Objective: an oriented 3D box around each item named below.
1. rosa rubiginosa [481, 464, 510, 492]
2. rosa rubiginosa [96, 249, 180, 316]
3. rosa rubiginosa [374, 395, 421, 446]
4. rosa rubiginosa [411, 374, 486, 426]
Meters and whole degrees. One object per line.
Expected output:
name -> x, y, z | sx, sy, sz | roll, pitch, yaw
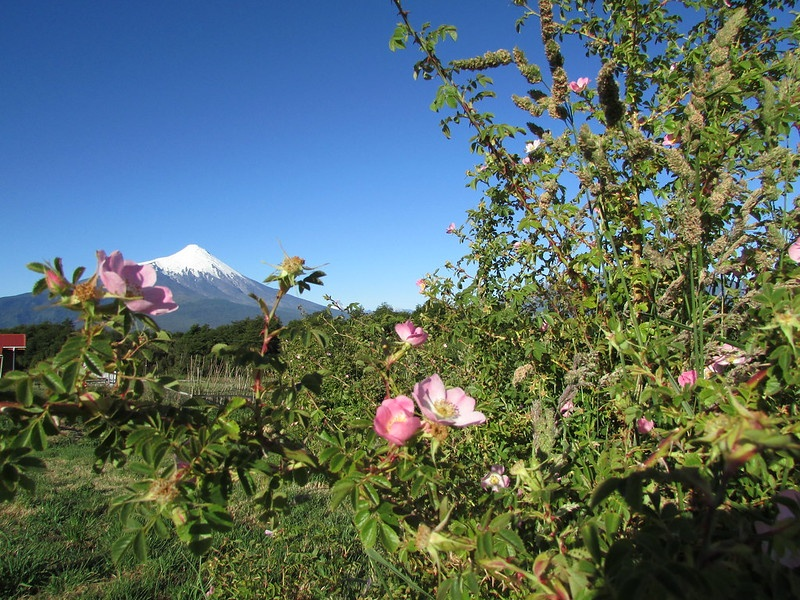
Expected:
rosa rubiginosa -> 0.362, 0.684, 1.809 | 0.100, 0.098, 0.141 | -3, -7, 13
rosa rubiginosa -> -0.786, -0.046, 1.486 | 0.180, 0.182, 0.299 | -2, -7, 8
rosa rubiginosa -> -0.013, 0.339, 1.334 | 0.141, 0.068, 0.116 | -8, -56, -18
rosa rubiginosa -> 0.140, 0.298, 1.430 | 0.222, 0.151, 0.151 | 1, -7, -18
